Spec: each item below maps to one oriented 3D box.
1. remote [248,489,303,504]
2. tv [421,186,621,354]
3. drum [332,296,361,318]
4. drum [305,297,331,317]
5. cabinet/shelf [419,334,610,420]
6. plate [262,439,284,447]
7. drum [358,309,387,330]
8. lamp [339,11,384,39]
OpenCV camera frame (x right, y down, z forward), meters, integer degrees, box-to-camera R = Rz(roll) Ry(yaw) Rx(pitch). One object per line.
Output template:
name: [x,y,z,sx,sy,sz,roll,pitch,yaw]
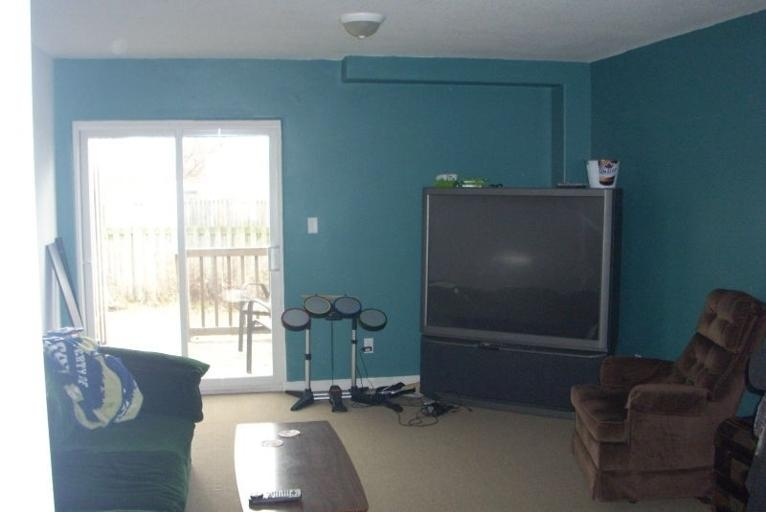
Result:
remote: [-0.595,1.333,3.638,0.303,0.071,0.098,-2,6,-5]
tv: [1.176,0.108,5.261,1.385,1.124,0.487,1,4,14]
drum: [-0.313,0.442,5.572,0.226,0.167,0.189,-1,5,14]
drum: [-0.554,0.436,5.526,0.229,0.168,0.174,-3,5,-7]
cabinet/shelf: [0.990,0.976,5.294,1.484,0.536,0.532,3,-20,13]
plate: [-0.700,1.173,4.079,0.100,0.013,0.048,0,8,-3]
drum: [-0.081,0.578,5.654,0.228,0.227,0.335,-1,5,12]
lamp: [-0.169,-1.699,4.814,0.182,0.070,0.177,-1,-2,-19]
